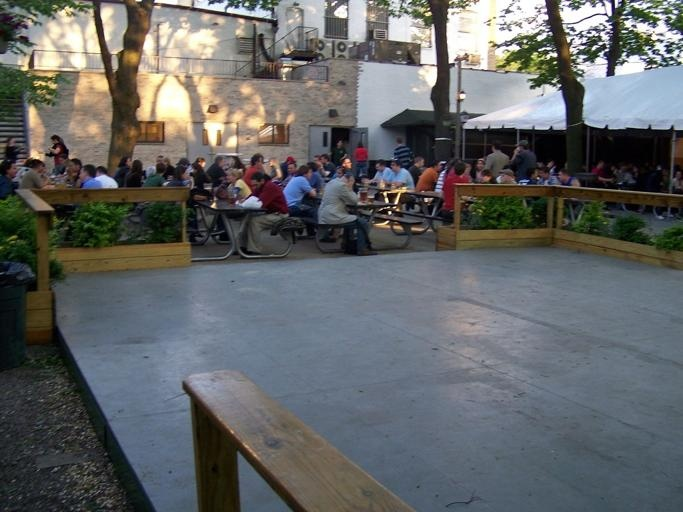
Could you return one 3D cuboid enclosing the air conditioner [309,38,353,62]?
[{"bbox_3d":[-0.550,-12.555,30.174,3.084,1.324,0.858,-9,18,-39],"label":"air conditioner"}]
